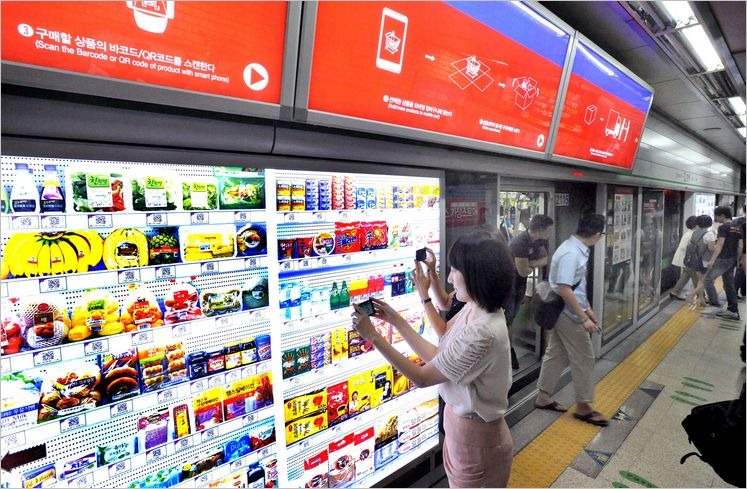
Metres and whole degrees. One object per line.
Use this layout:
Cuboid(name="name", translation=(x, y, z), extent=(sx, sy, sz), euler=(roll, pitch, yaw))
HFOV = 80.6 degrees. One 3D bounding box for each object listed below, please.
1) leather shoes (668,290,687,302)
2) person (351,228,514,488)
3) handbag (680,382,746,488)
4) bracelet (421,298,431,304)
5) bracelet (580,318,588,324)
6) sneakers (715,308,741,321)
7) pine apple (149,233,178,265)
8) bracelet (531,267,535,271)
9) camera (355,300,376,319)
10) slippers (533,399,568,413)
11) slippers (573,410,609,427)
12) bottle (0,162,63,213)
Cuboid(name="leather shoes", translation=(5.084, 0.865, 7.439), extent=(0.389, 0.127, 0.150), euler=(4, -25, 2))
Cuboid(name="person", translation=(0.397, 0.648, 2.351), extent=(0.754, 1.418, 0.351), euler=(-4, 5, -1))
Cuboid(name="handbag", translation=(2.589, 1.428, 3.403), extent=(0.392, 0.752, 0.283), euler=(0, 6, 33))
Cuboid(name="bracelet", translation=(0.301, 0.326, 2.616), extent=(0.042, 0.027, 0.045), euler=(-5, -3, 12))
Cuboid(name="bracelet", translation=(1.777, 0.650, 3.744), extent=(0.043, 0.030, 0.042), euler=(-2, 1, -15))
Cuboid(name="sneakers", translation=(5.396, 1.077, 6.750), extent=(0.369, 0.152, 0.135), euler=(9, 32, 23))
Cuboid(name="pine apple", translation=(-0.960, 0.013, 2.038), extent=(0.136, 0.160, 0.137), euler=(1, 2, 34))
Cuboid(name="bracelet", translation=(1.489, 0.220, 4.123), extent=(0.046, 0.045, 0.012), euler=(2, 5, -27))
Cuboid(name="camera", translation=(-0.039, 0.330, 2.249), extent=(0.093, 0.085, 0.024), euler=(-25, 2, -35))
Cuboid(name="slippers", translation=(1.581, 1.457, 3.955), extent=(0.273, 0.072, 0.105), euler=(1, 9, 12))
Cuboid(name="slippers", translation=(1.893, 1.515, 3.832), extent=(0.213, 0.063, 0.117), euler=(0, 11, 24))
Cuboid(name="bottle", translation=(-1.395, -0.245, 1.821), extent=(0.219, 0.230, 0.011), euler=(-5, 5, -18))
